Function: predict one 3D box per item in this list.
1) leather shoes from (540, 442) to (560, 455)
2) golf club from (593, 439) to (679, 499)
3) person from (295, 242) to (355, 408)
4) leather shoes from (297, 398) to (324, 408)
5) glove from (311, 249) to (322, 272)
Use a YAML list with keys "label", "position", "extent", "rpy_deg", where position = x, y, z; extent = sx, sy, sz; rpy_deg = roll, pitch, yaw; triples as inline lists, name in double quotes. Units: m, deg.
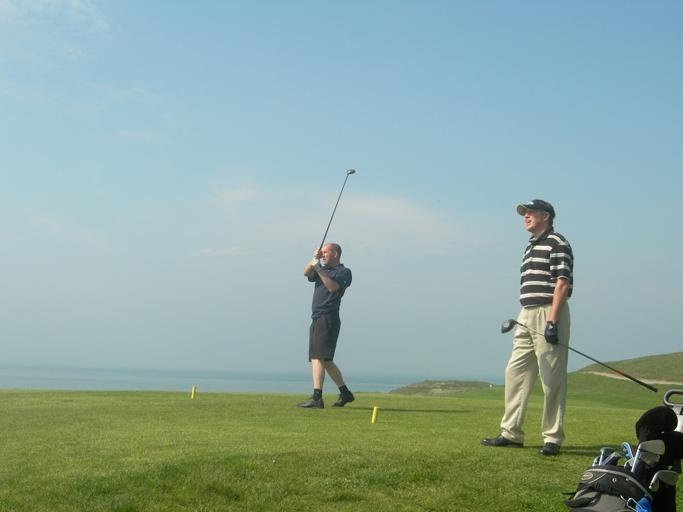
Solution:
- label: "leather shoes"
  position: [2.160, 1.982, 7.608]
  extent: [0.195, 0.105, 0.313]
  rpy_deg: [1, -5, 15]
- label: "golf club"
  position: [1.962, 1.433, 4.984]
  extent: [0.513, 0.251, 0.388]
  rpy_deg: [7, -15, -17]
- label: "person"
  position: [-0.215, 1.015, 11.287]
  extent: [0.682, 2.484, 0.996]
  rpy_deg: [1, -5, 19]
- label: "leather shoes"
  position: [-0.422, 2.126, 10.678]
  extent: [0.391, 0.144, 0.133]
  rpy_deg: [1, -10, 7]
- label: "glove"
  position: [-0.339, 0.067, 10.808]
  extent: [0.238, 0.295, 0.108]
  rpy_deg: [13, -29, -43]
